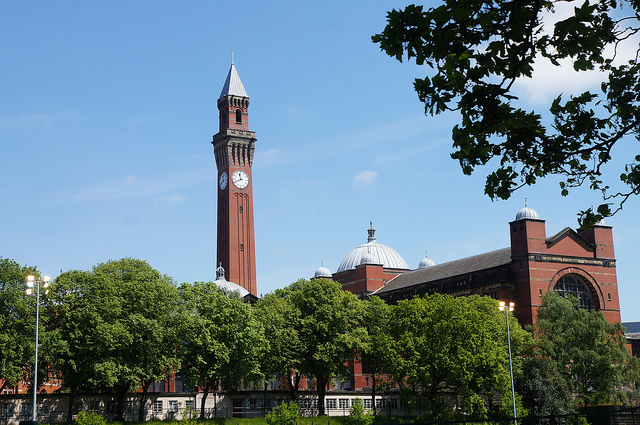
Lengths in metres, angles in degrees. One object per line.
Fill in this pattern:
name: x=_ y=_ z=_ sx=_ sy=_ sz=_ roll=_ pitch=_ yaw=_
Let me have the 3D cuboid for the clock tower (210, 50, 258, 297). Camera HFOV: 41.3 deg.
clock tower: x=-14.188 y=-6.236 z=141.617 sx=6.729 sy=37.971 sz=8.894 roll=1 pitch=-21 yaw=-5
